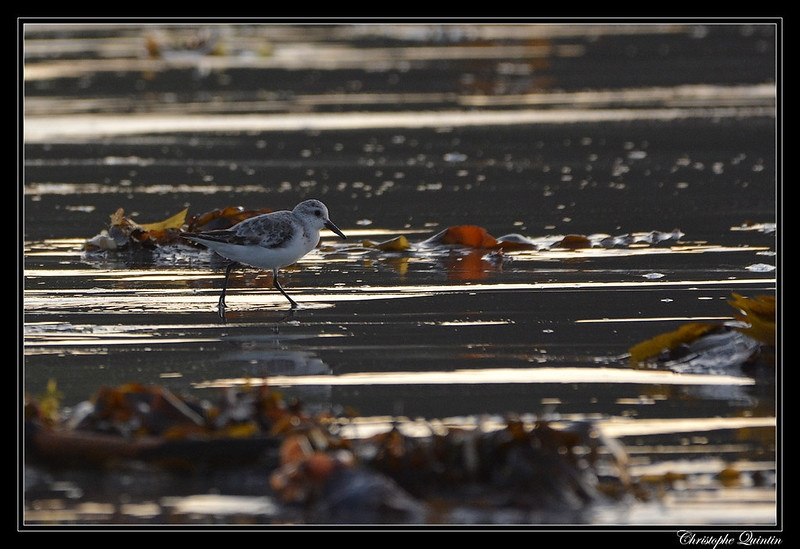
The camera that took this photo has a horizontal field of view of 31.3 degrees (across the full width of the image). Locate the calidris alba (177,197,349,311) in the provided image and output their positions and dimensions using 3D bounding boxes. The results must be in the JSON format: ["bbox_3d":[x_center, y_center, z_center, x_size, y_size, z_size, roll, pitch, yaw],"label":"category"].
[{"bbox_3d":[-1.116,-0.216,11.708,1.308,0.710,0.454,2,6,6],"label":"calidris alba"}]
